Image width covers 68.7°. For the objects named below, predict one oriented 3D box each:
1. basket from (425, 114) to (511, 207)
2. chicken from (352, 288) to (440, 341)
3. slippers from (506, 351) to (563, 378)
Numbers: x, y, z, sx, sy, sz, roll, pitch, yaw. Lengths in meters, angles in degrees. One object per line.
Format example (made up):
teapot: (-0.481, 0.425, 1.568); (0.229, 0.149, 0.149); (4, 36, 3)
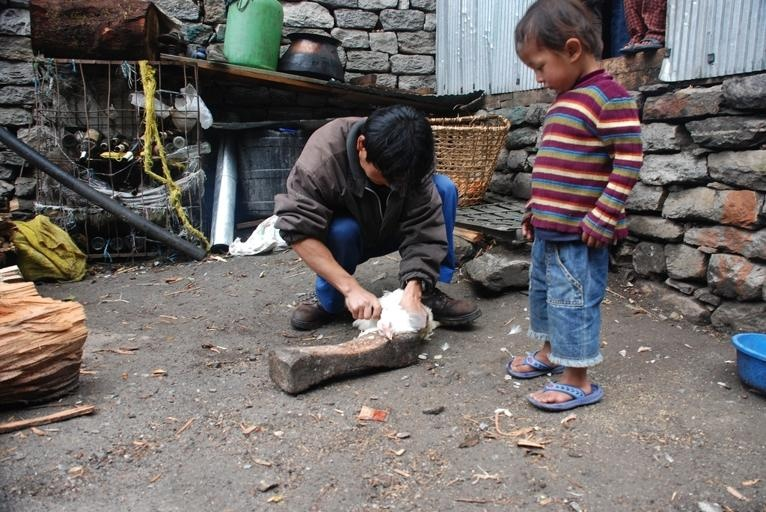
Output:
basket: (0.737, -0.895, 5.196); (0.883, 0.753, 0.769); (-3, 12, -20)
chicken: (0.104, 0.351, 3.312); (0.299, 0.174, 0.386); (14, 21, 22)
slippers: (0.846, 0.597, 3.099); (0.243, 0.069, 0.138); (2, 19, 10)
